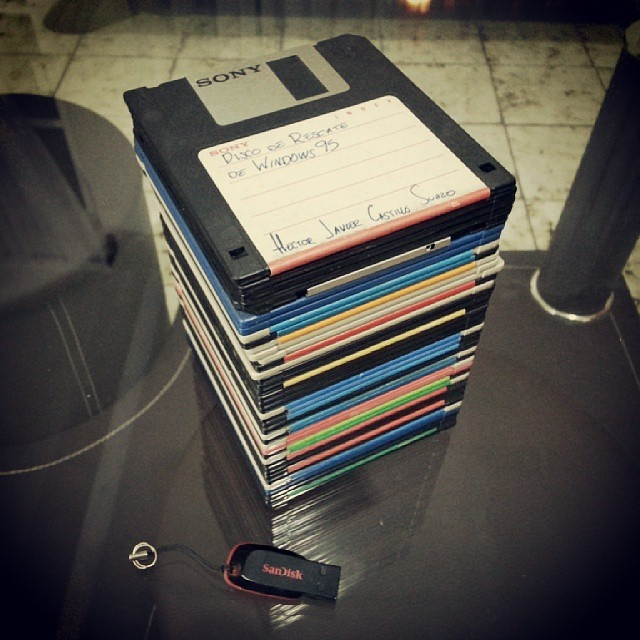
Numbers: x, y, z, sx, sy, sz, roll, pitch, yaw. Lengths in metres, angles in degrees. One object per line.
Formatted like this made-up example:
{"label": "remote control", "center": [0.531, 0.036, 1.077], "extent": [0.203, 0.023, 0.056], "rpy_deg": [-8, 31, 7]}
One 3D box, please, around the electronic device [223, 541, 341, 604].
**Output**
{"label": "electronic device", "center": [-0.051, 0.353, 1.086], "extent": [0.155, 0.039, 0.071], "rpy_deg": [8, 55, 11]}

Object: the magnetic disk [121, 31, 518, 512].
{"label": "magnetic disk", "center": [-0.001, -0.074, 1.175], "extent": [0.445, 0.510, 0.489], "rpy_deg": [-23, 56, -9]}
